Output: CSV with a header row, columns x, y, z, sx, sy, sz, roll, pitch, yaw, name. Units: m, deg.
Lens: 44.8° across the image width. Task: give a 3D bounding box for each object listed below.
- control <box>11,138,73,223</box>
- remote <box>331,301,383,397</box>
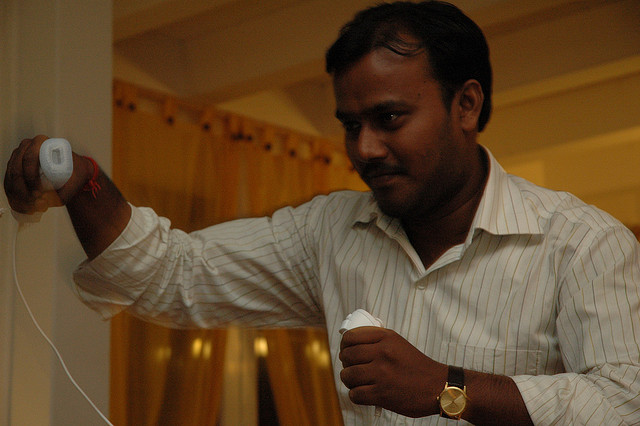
x,y,z,sx,sy,sz,roll,pitch,yaw,name
-0.778,-0.156,2.290,0.093,0.169,0.050,-3,-18,-1,control
0.113,0.396,2.267,0.147,0.283,0.193,-13,-18,1,remote
